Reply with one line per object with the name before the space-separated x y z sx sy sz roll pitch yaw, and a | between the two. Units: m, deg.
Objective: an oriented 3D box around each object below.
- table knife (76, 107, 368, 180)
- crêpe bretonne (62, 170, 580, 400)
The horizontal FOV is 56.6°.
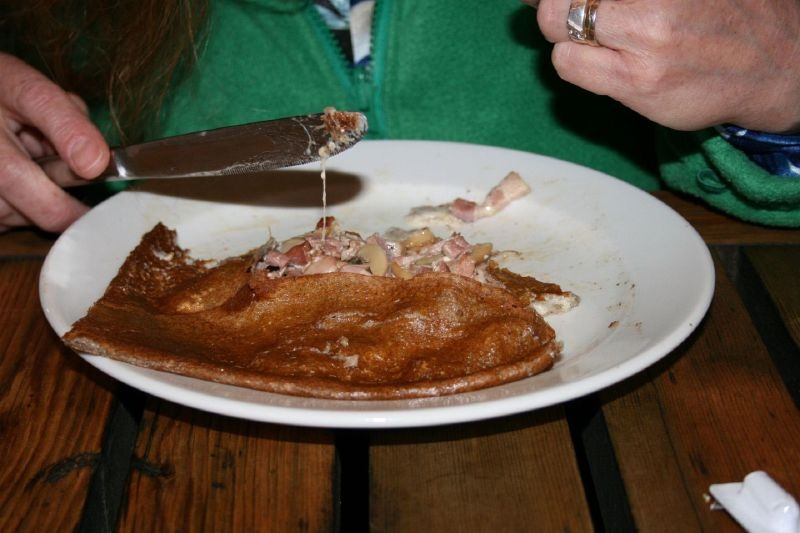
table knife | -0.341 -0.231 1.418 0.543 0.041 0.073 -15 53 -6
crêpe bretonne | -0.067 0.043 1.364 0.954 0.117 0.686 -6 28 -16
